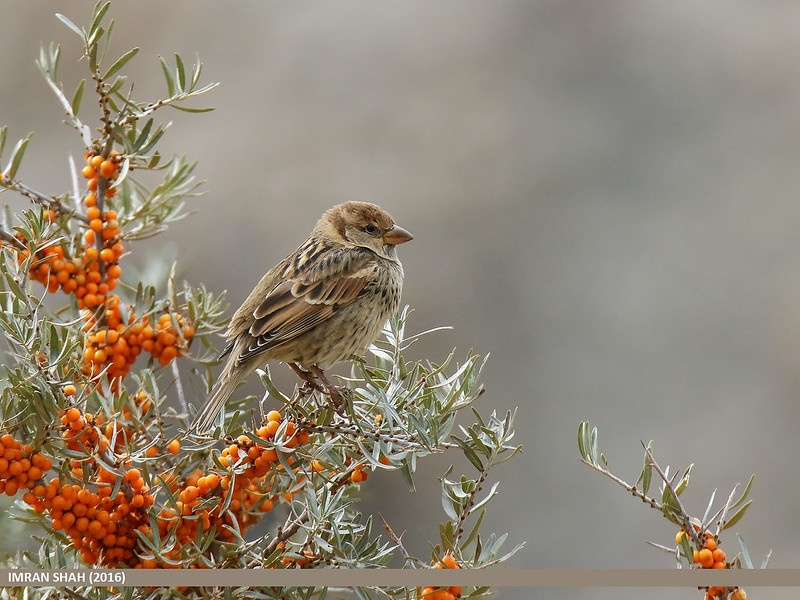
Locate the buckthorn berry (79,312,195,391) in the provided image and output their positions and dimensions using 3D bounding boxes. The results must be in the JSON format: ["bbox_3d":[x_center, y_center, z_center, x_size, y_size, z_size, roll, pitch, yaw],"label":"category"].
[{"bbox_3d":[-1.050,0.173,3.952,0.419,0.193,0.242,-23,-44,-24],"label":"buckthorn berry"}]
